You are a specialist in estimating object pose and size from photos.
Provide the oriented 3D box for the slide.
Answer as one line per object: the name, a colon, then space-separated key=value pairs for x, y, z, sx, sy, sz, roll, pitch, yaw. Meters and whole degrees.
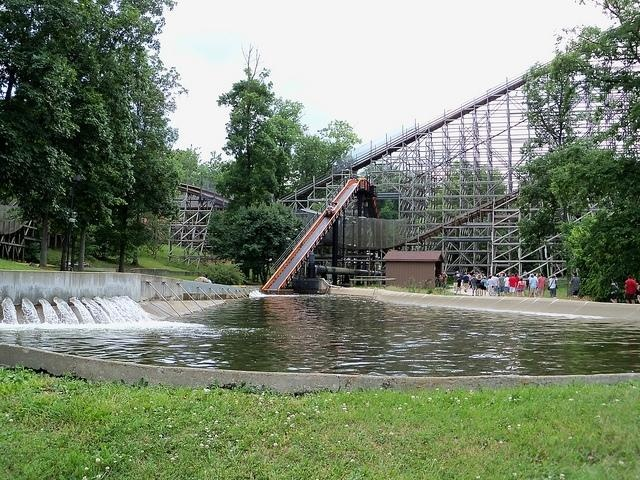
slide: x=-0.173 y=-0.854 z=51.745 sx=2.195 sy=8.669 sz=15.331 roll=2 pitch=1 yaw=19
